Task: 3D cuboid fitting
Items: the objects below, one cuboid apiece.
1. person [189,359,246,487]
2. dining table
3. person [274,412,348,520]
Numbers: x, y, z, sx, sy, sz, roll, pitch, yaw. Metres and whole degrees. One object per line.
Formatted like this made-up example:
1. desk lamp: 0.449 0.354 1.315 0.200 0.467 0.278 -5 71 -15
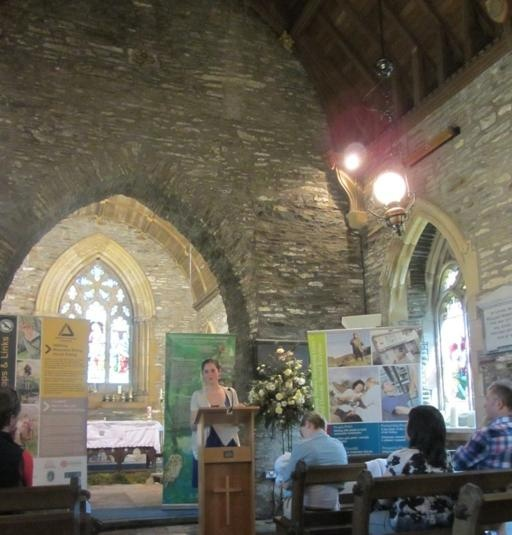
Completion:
1. person: -0.360 1.520 5.513 0.505 1.321 1.852 -1 -13 -7
2. dining table: -2.317 3.020 10.347 1.662 0.703 1.210 1 -5 -9
3. person: 0.385 1.354 3.840 0.458 0.717 0.441 7 -13 -12
